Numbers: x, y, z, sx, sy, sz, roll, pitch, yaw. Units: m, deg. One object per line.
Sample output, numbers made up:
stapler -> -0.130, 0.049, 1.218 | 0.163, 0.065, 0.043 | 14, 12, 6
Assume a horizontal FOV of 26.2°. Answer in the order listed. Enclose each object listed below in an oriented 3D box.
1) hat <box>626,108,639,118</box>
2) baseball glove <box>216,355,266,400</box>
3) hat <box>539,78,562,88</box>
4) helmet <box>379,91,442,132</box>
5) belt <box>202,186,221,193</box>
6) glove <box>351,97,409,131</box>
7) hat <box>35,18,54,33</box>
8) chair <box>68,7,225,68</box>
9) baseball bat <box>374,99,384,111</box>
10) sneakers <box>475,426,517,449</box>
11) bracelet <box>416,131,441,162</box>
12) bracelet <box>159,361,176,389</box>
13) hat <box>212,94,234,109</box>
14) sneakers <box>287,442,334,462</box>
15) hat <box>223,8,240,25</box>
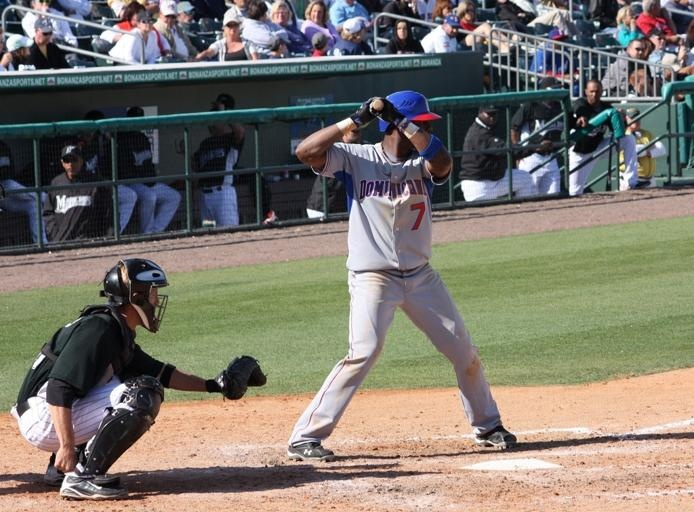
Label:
hat -> 4.510, -2.300, 23.716 | 0.201, 0.148, 0.328 | 14, 11, 8
baseball glove -> -0.903, 0.992, 12.781 | 0.195, 0.272, 0.609 | -22, 7, 26
hat -> 3.084, -2.670, 22.906 | 0.206, 0.151, 0.205 | 0, 4, 0
helmet -> 0.539, -1.276, 12.658 | 0.448, 0.249, 0.327 | -6, 14, 4
belt -> -1.830, -0.941, 20.323 | 0.118, 0.039, 0.129 | -15, 0, 19
glove -> 0.270, -1.211, 12.460 | 0.478, 0.239, 0.114 | -1, 6, 1
hat -> -4.062, -3.128, 20.072 | 0.258, 0.152, 0.167 | 7, 8, 31
chair -> -2.806, -3.178, 21.372 | 1.386, 0.659, 0.836 | -2, 0, 44
baseball bat -> 0.255, -1.273, 12.403 | 0.090, 0.090, 0.021 | -6, 5, 6
sneakers -> 1.290, 1.550, 12.945 | 0.348, 0.170, 0.170 | -4, 0, 31
bracelet -> 0.663, -0.929, 12.579 | 0.141, 0.196, 0.195 | 39, -19, -33
bracelet -> -1.524, 0.989, 12.661 | 0.183, 0.194, 0.150 | 7, 0, -9
hat -> -1.753, -2.224, 21.205 | 0.267, 0.153, 0.188 | 5, 11, 17
sneakers -> -0.302, 1.653, 12.787 | 0.383, 0.189, 0.162 | -1, -1, 10
hat -> -1.702, -3.586, 22.312 | 0.273, 0.148, 0.466 | -4, 15, -3
